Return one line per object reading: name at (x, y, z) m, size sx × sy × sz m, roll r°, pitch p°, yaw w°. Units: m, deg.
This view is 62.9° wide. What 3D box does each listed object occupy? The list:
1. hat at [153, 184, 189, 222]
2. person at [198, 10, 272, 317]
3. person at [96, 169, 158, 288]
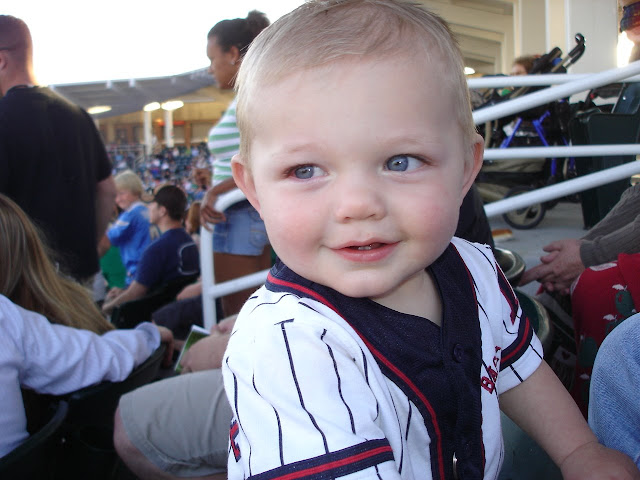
hat at (-1.075, -0.259, 3.779) m, size 0.156 × 0.152 × 0.259 m, roll 28°, pitch 15°, yaw -32°
person at (-0.358, -0.208, 2.369) m, size 0.338 × 1.532 × 0.398 m, roll 4°, pitch 17°, yaw 11°
person at (-1.326, -0.048, 3.589) m, size 0.307 × 0.277 × 0.835 m, roll 1°, pitch 29°, yaw -12°
